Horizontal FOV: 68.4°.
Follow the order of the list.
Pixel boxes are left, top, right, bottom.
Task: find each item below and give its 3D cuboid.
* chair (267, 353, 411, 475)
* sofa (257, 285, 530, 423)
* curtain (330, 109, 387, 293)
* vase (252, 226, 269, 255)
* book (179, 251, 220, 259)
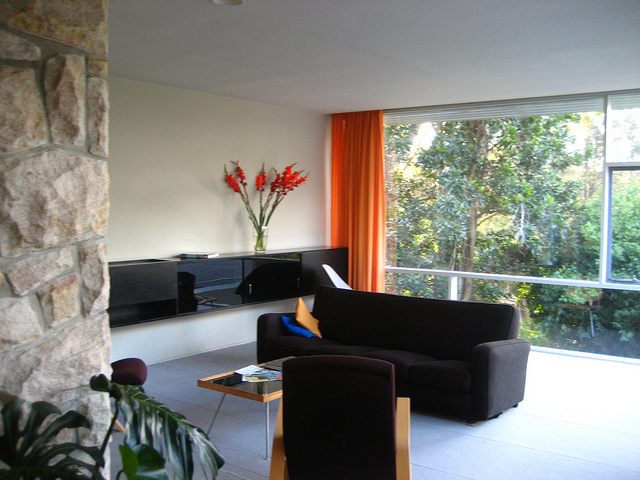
[{"bbox_3d":[0.153,0.897,2.637,0.715,0.704,0.763,-1,-7,18],"label":"chair"},{"bbox_3d":[0.707,1.017,4.546,2.179,0.906,0.860,3,5,32],"label":"sofa"},{"bbox_3d":[0.557,-0.607,7.160,0.987,2.697,0.291,6,8,40],"label":"curtain"},{"bbox_3d":[-0.786,-0.007,6.165,0.185,0.344,0.447,0,5,-9],"label":"vase"},{"bbox_3d":[-1.454,0.174,5.510,0.401,0.059,0.324,4,5,38],"label":"book"}]
